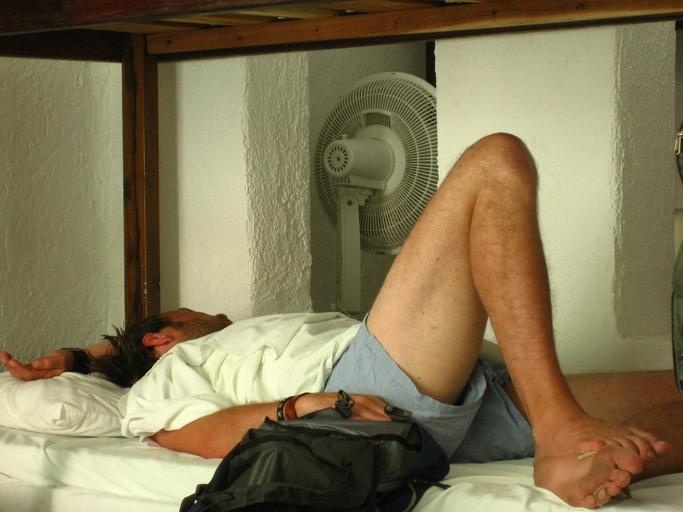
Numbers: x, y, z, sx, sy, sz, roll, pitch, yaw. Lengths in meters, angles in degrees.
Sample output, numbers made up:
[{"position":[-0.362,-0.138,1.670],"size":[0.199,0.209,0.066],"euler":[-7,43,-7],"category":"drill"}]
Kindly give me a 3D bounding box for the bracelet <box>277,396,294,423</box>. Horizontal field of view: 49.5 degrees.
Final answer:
[{"position":[-0.140,0.371,1.788],"size":[0.024,0.036,0.047],"euler":[0,-6,-18],"category":"bracelet"}]

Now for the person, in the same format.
[{"position":[0.092,0.174,1.983],"size":[1.183,0.469,0.809],"euler":[-4,-13,26],"category":"person"}]

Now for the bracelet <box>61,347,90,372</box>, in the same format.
[{"position":[-0.846,0.322,2.374],"size":[0.055,0.038,0.091],"euler":[18,7,-13],"category":"bracelet"}]

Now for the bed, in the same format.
[{"position":[-0.018,-0.056,2.274],"size":[1.509,1.103,0.813],"euler":[-3,-1,34],"category":"bed"}]
